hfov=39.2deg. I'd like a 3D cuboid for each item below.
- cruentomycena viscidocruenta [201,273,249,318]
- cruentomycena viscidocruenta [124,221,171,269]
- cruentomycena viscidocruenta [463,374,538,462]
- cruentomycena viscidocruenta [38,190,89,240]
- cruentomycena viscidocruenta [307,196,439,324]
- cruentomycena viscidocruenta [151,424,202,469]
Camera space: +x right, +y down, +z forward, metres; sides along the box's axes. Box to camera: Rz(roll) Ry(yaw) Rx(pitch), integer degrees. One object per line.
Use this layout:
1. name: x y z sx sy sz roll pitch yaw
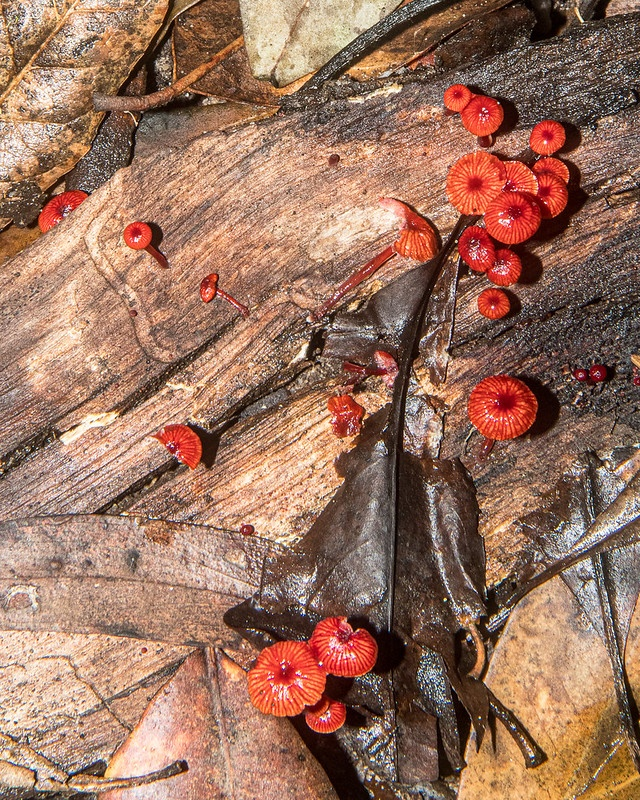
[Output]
1. cruentomycena viscidocruenta: -0.646 -0.703 6.168 0.203 0.389 0.099 -55 2 -1
2. cruentomycena viscidocruenta: -1.131 -1.039 6.080 0.208 0.359 0.118 -49 -5 18
3. cruentomycena viscidocruenta: 1.092 0.044 5.418 0.381 0.271 0.314 -30 34 -1
4. cruentomycena viscidocruenta: -1.834 -1.360 6.444 0.421 0.156 0.248 -30 34 -4
5. cruentomycena viscidocruenta: 0.351 -0.858 5.909 0.895 0.487 0.114 -45 -10 11
6. cruentomycena viscidocruenta: -0.912 0.286 5.978 0.196 0.235 0.357 -39 35 -13
